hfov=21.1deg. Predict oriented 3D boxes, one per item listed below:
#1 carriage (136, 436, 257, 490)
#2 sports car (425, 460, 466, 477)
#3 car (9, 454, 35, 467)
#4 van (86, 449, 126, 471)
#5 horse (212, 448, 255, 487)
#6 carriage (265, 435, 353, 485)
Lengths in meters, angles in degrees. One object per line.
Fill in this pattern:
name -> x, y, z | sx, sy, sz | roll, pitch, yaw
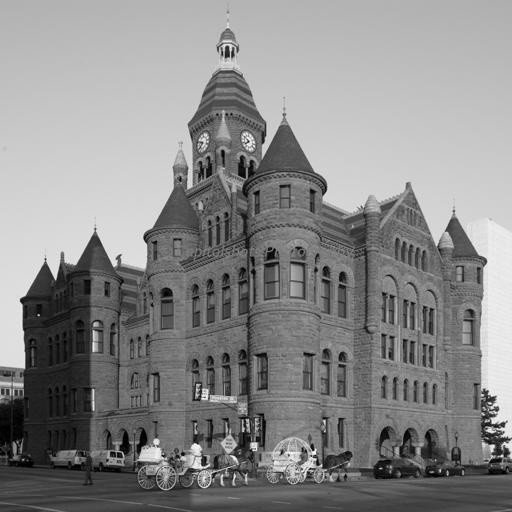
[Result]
carriage -> -2.547, 11.773, 79.420 | 9.878, 4.023, 2.735 | 6, -12, -39
sports car -> 13.015, 14.594, 93.970 | 2.382, 0.786, 1.167 | 6, -12, -35
car -> -19.419, 16.893, 113.357 | 1.158, 0.900, 2.444 | 8, -9, -35
van -> -10.960, 14.982, 100.949 | 2.350, 1.242, 1.434 | -6, -15, 44
horse -> -1.390, 12.104, 79.858 | 3.077, 2.013, 0.852 | 6, -12, -36
carriage -> 3.257, 12.480, 83.915 | 2.199, 2.984, 7.642 | -9, -13, 38
